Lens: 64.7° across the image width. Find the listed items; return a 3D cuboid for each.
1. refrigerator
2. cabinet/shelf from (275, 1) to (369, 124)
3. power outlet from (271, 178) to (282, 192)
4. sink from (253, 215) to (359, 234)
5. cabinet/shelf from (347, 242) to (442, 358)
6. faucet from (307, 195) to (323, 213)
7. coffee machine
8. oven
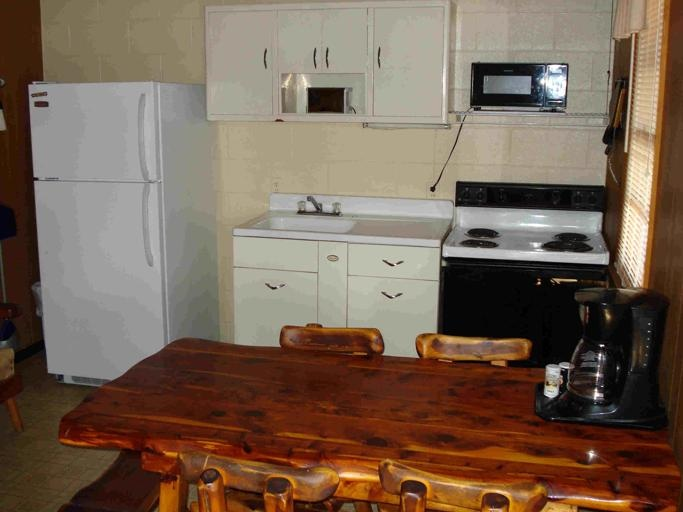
[{"bbox_3d":[-1.502,-0.177,3.798,1.202,2.059,0.638,-1,12,-14],"label":"refrigerator"},{"bbox_3d":[-0.115,-1.339,3.652,0.787,0.886,0.435,1,12,8],"label":"cabinet/shelf"},{"bbox_3d":[-0.516,-0.548,4.224,0.092,0.095,0.023,4,6,19],"label":"power outlet"},{"bbox_3d":[-0.275,-0.245,4.005,0.733,0.109,0.295,0,11,-7],"label":"sink"},{"bbox_3d":[0.376,0.249,3.728,0.610,1.084,0.735,1,4,14],"label":"cabinet/shelf"},{"bbox_3d":[-0.211,-0.398,4.120,0.131,0.128,0.119,1,11,-2],"label":"faucet"},{"bbox_3d":[0.836,0.317,1.904,0.462,0.471,0.367,3,6,17],"label":"coffee machine"},{"bbox_3d":[1.171,0.311,3.588,0.985,0.904,0.673,0,17,9],"label":"oven"}]
